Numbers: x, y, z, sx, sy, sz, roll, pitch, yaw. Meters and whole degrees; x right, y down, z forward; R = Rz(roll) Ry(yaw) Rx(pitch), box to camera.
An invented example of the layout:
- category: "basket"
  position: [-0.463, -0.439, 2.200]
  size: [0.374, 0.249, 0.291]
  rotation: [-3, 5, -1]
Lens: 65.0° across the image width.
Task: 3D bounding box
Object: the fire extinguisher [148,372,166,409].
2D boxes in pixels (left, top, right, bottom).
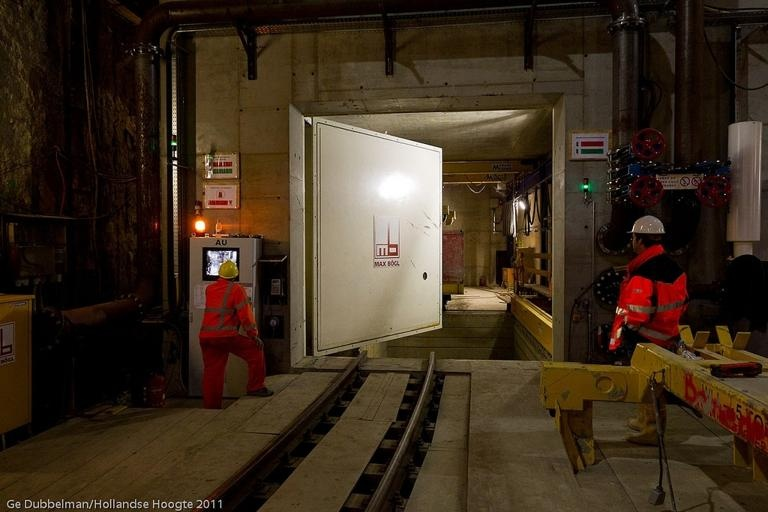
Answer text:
- category: "fire extinguisher"
  position: [-3.578, 2.130, 9.448]
  size: [0.257, 0.507, 0.216]
  rotation: [-2, 3, -27]

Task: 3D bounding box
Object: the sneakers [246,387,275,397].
- category: "sneakers"
  position: [-1.820, 2.013, 8.858]
  size: [0.390, 0.166, 0.154]
  rotation: [0, -1, -5]

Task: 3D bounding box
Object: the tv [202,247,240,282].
- category: "tv"
  position: [-2.549, 0.119, 9.459]
  size: [0.547, 0.482, 0.056]
  rotation: [1, 0, 4]

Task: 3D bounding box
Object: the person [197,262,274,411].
- category: "person"
  position: [-2.220, 1.155, 8.804]
  size: [0.927, 2.113, 0.380]
  rotation: [-1, 3, -13]

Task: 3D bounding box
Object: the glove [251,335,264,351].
- category: "glove"
  position: [-1.865, 1.281, 8.904]
  size: [0.071, 0.215, 0.150]
  rotation: [-19, 15, -35]

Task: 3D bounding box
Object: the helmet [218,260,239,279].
- category: "helmet"
  position: [-2.311, 0.214, 8.956]
  size: [0.244, 0.262, 0.311]
  rotation: [4, -4, -14]
